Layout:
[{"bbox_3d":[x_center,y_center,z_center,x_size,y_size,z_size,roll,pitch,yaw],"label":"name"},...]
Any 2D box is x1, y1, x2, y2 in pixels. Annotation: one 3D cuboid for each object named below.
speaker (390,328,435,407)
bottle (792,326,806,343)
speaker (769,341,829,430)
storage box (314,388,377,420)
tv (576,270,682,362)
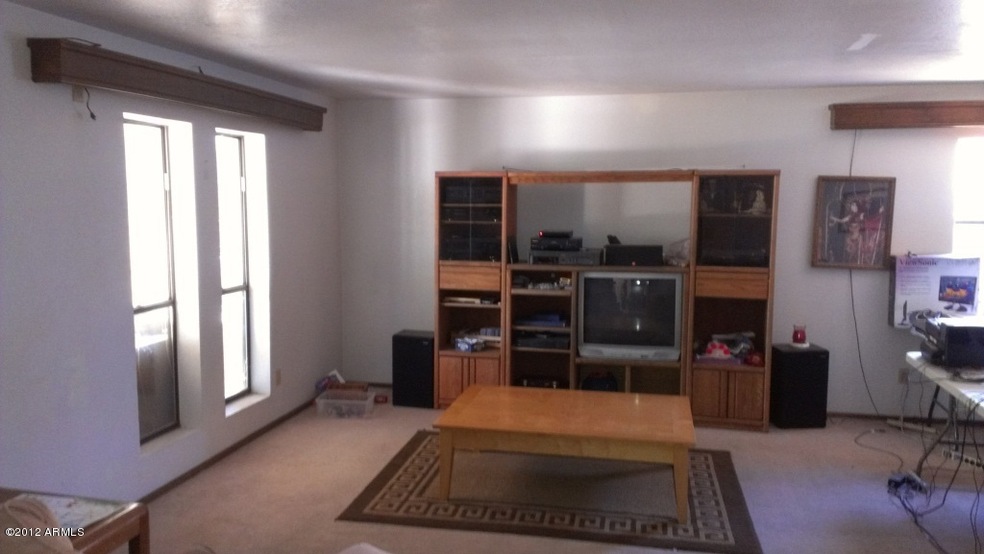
[{"bbox_3d":[-0.934,1.116,7.934,0.493,0.855,0.195,-1,7,-4],"label":"speaker"},{"bbox_3d":[3.532,0.652,7.613,0.150,0.166,0.246,3,7,25],"label":"bottle"},{"bbox_3d":[3.440,1.217,7.472,0.563,0.905,0.266,-1,7,-4],"label":"speaker"},{"bbox_3d":[-1.681,1.470,7.791,0.525,0.143,0.338,0,3,3],"label":"storage box"},{"bbox_3d":[1.539,0.430,7.405,1.099,0.950,0.130,1,7,4],"label":"tv"}]
